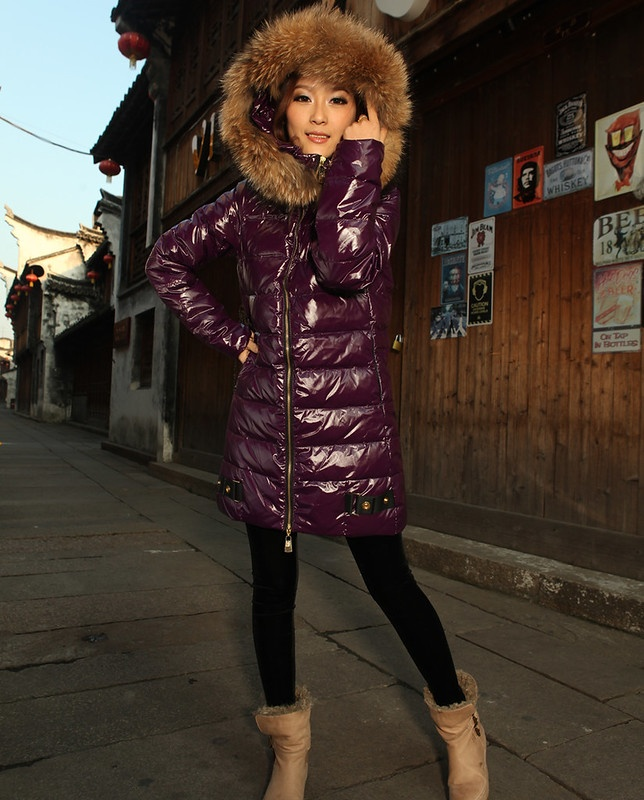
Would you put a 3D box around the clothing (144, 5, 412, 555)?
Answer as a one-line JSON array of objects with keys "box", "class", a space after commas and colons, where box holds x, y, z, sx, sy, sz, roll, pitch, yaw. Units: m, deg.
[{"box": [-0.060, -0.364, 1.613, 0.594, 1.253, 0.376, 2, 1, 39], "class": "clothing"}]
